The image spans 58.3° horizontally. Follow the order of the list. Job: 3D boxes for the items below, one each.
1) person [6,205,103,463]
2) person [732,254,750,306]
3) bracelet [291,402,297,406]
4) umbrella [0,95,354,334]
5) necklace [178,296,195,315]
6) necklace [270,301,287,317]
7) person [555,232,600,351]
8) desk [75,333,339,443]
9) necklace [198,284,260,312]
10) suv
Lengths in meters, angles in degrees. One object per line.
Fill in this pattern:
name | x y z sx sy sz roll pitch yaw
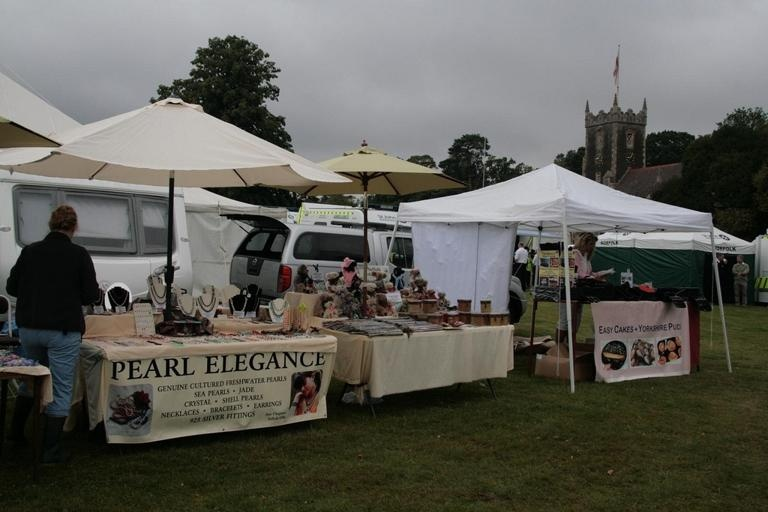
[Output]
person | -3.597 0.842 7.561 0.843 2.735 0.526 -4 10 -30
person | 12.408 0.813 23.877 0.542 1.708 0.783 6 10 29
bracelet | -1.096 1.803 8.400 0.042 0.037 0.041 2 -5 1
umbrella | -2.516 -0.878 9.295 3.446 2.430 3.556 3 -2 7
necklace | -2.522 0.625 8.730 0.213 0.286 0.036 -6 -16 -46
necklace | -1.419 0.692 9.148 0.157 0.222 0.086 5 -1 -9
person | 3.313 0.576 11.733 0.594 1.882 1.594 5 9 21
desk | -2.036 1.460 8.401 2.963 1.105 1.066 1 11 -21
necklace | -2.045 0.588 9.509 0.581 0.321 0.461 -2 -5 8
suv | -0.220 -0.056 13.839 5.332 2.305 2.254 -3 3 -33
